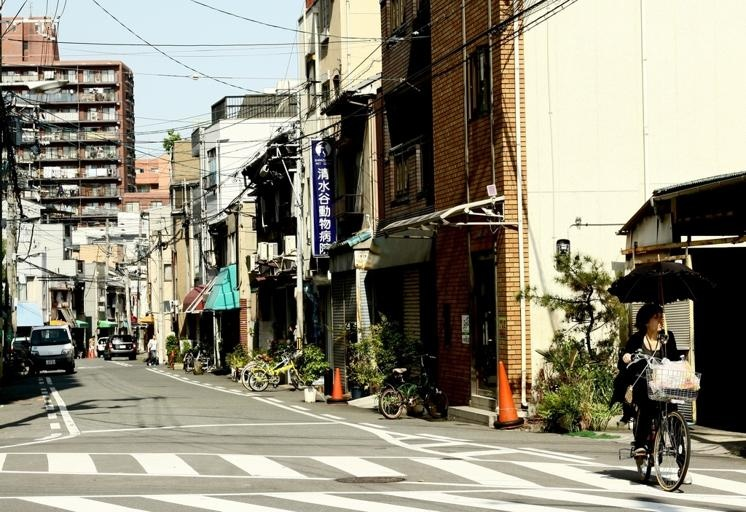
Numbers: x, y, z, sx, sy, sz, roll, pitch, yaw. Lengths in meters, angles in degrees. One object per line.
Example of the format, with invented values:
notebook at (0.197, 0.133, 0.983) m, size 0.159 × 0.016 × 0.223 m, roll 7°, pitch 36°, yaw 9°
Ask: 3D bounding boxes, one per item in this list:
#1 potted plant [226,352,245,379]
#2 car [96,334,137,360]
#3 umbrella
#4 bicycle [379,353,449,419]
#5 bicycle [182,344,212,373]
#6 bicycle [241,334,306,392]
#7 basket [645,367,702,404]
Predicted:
potted plant at (-5.897, 4.809, 56.859) m, size 0.985 × 1.222 × 1.218 m, roll 2°, pitch -1°, yaw -5°
car at (-18.269, 6.553, 95.176) m, size 2.254 × 1.922 × 3.157 m, roll 1°, pitch -7°, yaw -6°
umbrella at (6.524, 0.868, 30.155) m, size 1.754 × 1.458 × 1.682 m, roll 4°, pitch -28°, yaw 2°
bicycle at (1.065, 3.776, 37.276) m, size 2.471 × 1.573 × 0.719 m, roll 1°, pitch -3°, yaw -25°
bicycle at (-8.449, 5.097, 64.505) m, size 1.500 × 0.933 × 1.033 m, roll 7°, pitch -9°, yaw -32°
bicycle at (-3.911, 4.184, 48.405) m, size 2.613 × 1.593 × 1.211 m, roll -4°, pitch 2°, yaw -13°
basket at (6.054, 2.566, 26.485) m, size 0.997 × 0.731 × 0.313 m, roll -2°, pitch -6°, yaw 12°
